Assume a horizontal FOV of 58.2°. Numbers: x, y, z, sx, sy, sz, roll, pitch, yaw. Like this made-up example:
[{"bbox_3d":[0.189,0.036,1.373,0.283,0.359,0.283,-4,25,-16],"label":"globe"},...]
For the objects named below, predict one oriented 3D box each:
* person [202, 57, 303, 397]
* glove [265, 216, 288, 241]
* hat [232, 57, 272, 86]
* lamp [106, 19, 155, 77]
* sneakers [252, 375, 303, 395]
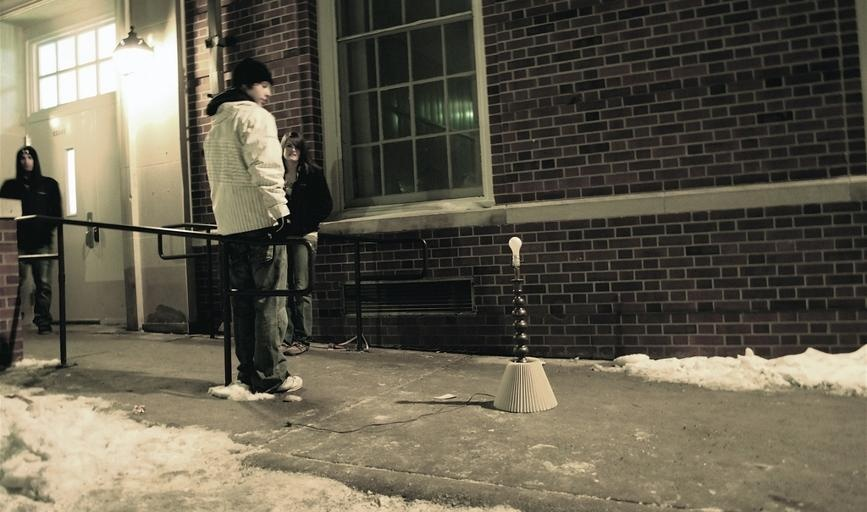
[{"bbox_3d":[-2.018,-0.327,8.634,0.908,3.723,0.411,-1,-1,9],"label":"person"},{"bbox_3d":[-1.706,-0.307,8.533,0.248,0.237,0.097,-1,-1,26],"label":"glove"},{"bbox_3d":[-2.027,-2.056,8.739,0.350,0.279,0.345,-5,9,42],"label":"hat"},{"bbox_3d":[-4.304,-2.968,11.205,0.699,0.868,0.693,9,12,39],"label":"lamp"},{"bbox_3d":[-1.732,1.437,8.726,0.527,0.221,0.190,-7,9,-37],"label":"sneakers"}]
